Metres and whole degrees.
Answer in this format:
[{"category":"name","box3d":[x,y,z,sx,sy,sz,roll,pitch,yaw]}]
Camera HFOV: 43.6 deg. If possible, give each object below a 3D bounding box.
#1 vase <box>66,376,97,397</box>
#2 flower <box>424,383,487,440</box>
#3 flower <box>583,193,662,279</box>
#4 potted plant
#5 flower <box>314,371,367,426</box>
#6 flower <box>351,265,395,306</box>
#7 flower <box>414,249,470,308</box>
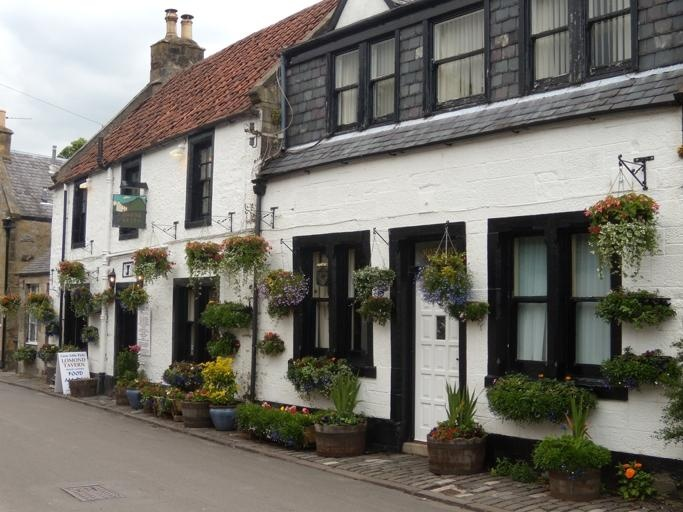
[{"category":"vase","box3d":[-7.157,3.514,23.625,0.736,0.514,0.446,6,-12,-44]},{"category":"flower","box3d":[1.975,2.609,14.132,0.846,0.969,0.854,1,0,34]},{"category":"flower","box3d":[4.386,-0.413,12.780,0.759,0.768,0.722,-13,1,-36]},{"category":"potted plant","box3d":[3.563,3.210,12.987,1.059,0.922,1.089,-5,-13,5]},{"category":"flower","box3d":[0.018,2.623,15.743,0.785,0.877,0.802,20,-13,-17]},{"category":"flower","box3d":[0.637,0.564,15.819,0.751,0.741,0.752,-2,-4,39]},{"category":"flower","box3d":[1.744,0.405,14.577,0.852,1.019,0.675,0,0,35]}]
